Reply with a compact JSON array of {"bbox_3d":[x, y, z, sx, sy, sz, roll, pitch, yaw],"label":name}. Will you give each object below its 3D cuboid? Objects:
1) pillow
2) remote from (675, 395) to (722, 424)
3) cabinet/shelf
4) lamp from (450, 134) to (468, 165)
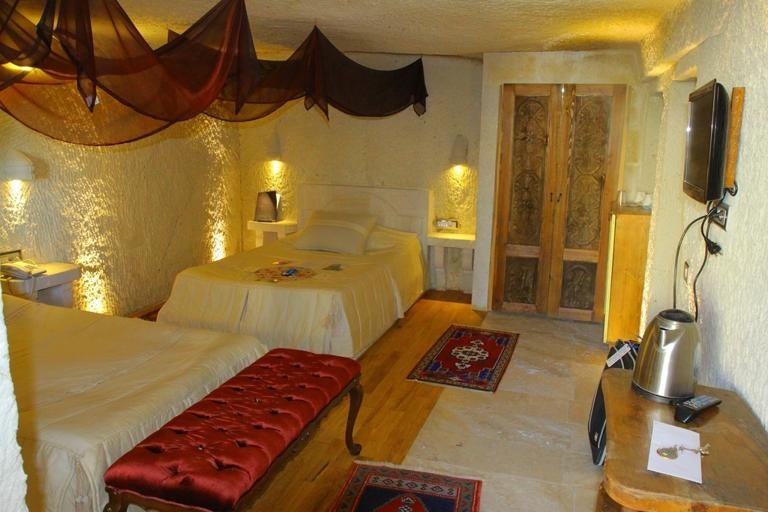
[{"bbox_3d":[-0.553,-0.247,5.975,0.587,0.186,0.627,1,35,13],"label":"pillow"},{"bbox_3d":[1.353,0.634,2.285,0.252,0.049,0.089,-10,10,-41],"label":"remote"},{"bbox_3d":[2.235,0.240,4.822,0.301,1.300,0.582,-3,8,-15],"label":"cabinet/shelf"},{"bbox_3d":[0.896,-1.261,6.298,0.225,0.355,0.185,1,8,10],"label":"lamp"}]
